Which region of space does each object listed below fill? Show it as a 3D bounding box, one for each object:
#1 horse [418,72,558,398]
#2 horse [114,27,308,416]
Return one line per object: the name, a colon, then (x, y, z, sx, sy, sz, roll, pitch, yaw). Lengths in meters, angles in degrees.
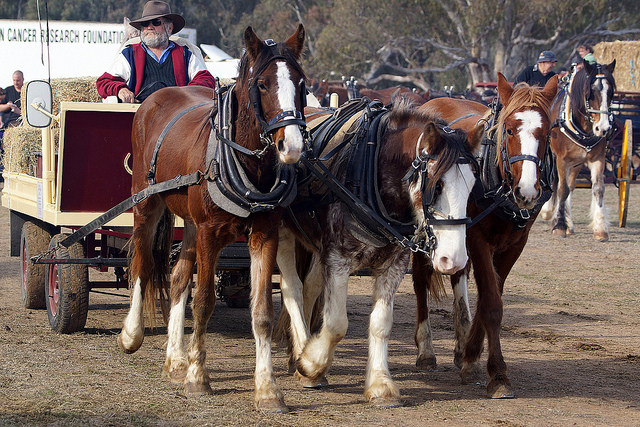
horse: (2.432, 0.350, 20.166, 1.608, 4.531, 6.417, 2, 0, -7)
horse: (-1.423, 0.052, 18.050, 2.949, 5.212, 1.060, 4, 4, 41)
